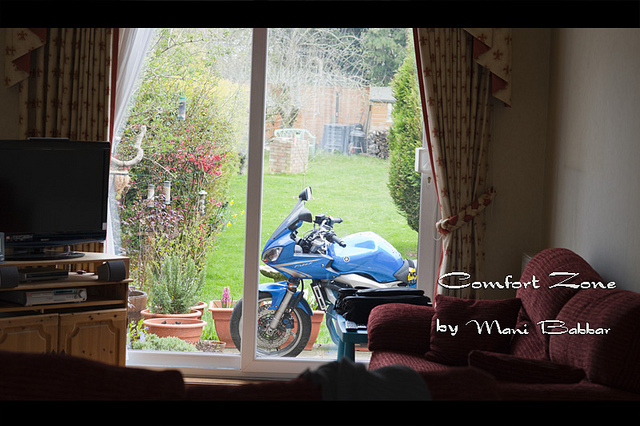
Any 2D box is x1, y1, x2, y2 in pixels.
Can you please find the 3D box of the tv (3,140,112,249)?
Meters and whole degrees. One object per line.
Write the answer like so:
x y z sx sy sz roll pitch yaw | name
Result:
-1.701 -0.135 3.239 0.734 0.591 0.070 3 1 -30 | tv

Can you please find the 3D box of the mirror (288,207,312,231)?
-0.131 0.044 3.526 0.183 0.098 0.077 -33 8 -13 | mirror

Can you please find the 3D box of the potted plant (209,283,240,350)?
-0.689 0.767 3.805 0.309 0.346 0.277 -7 2 -5 | potted plant

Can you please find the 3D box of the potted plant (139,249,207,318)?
-1.010 0.494 3.800 0.556 0.542 0.457 1 -5 -9 | potted plant

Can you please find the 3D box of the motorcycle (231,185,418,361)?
0.235 0.523 3.785 1.787 1.043 0.522 2 -9 -24 | motorcycle

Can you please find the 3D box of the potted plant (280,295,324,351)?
-0.145 0.771 3.705 0.426 0.343 0.342 0 -5 -3 | potted plant

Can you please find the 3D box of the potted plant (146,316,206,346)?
-1.043 0.842 3.695 0.283 0.110 0.273 3 -3 -11 | potted plant

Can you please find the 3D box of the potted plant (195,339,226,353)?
-0.798 0.969 3.713 0.117 0.040 0.116 -2 -8 32 | potted plant

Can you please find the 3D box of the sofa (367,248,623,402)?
0.854 0.623 2.571 0.928 0.675 1.087 6 -1 -4 | sofa

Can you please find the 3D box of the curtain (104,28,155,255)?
-1.338 -0.885 3.596 0.248 1.454 0.187 3 -1 -5 | curtain

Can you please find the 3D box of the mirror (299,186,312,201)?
-0.104 -0.132 3.683 0.089 0.112 0.115 5 15 6 | mirror
